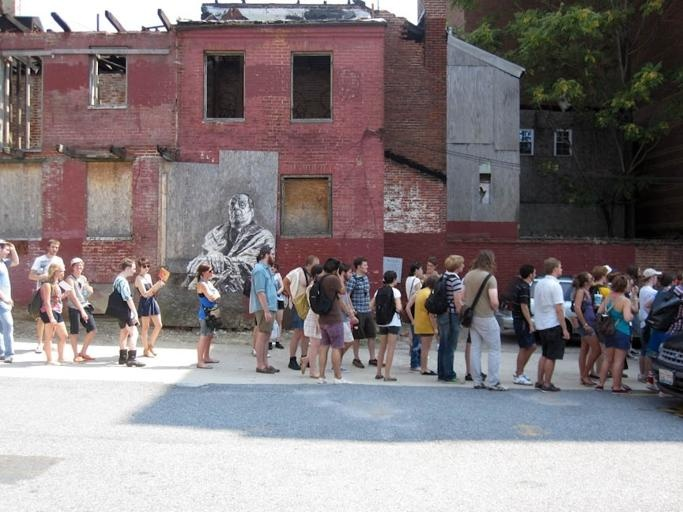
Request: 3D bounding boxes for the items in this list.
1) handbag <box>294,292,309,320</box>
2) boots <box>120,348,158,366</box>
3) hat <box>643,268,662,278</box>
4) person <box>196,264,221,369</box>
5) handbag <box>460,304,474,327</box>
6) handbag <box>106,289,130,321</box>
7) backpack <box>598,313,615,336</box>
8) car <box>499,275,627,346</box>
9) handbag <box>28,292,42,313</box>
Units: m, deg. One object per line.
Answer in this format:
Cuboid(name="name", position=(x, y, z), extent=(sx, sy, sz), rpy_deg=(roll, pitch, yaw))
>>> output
Cuboid(name="handbag", position=(-0.941, 1.165, 29.142), extent=(0.329, 0.470, 0.684), rpy_deg=(1, 0, -6))
Cuboid(name="boots", position=(-4.887, 2.407, 29.292), extent=(0.824, 0.538, 0.277), rpy_deg=(1, -2, 2))
Cuboid(name="hat", position=(7.870, 0.444, 31.140), extent=(0.397, 0.155, 0.248), rpy_deg=(-7, 6, -19))
Cuboid(name="person", position=(-3.190, 1.412, 29.537), extent=(0.547, 1.863, 1.028), rpy_deg=(1, 0, -6))
Cuboid(name="handbag", position=(2.861, 1.340, 27.905), extent=(0.219, 0.358, 0.388), rpy_deg=(15, -18, 2))
Cuboid(name="handbag", position=(-5.308, 1.167, 29.364), extent=(0.630, 0.613, 0.199), rpy_deg=(0, 0, 25))
Cuboid(name="backpack", position=(6.030, 1.543, 27.908), extent=(0.266, 0.484, 0.464), rpy_deg=(-7, 7, -16))
Cuboid(name="car", position=(5.444, 1.468, 32.248), extent=(2.559, 1.822, 6.737), rpy_deg=(0, 0, 7))
Cuboid(name="handbag", position=(-7.254, 1.081, 29.150), extent=(0.197, 0.456, 0.294), rpy_deg=(1, 0, -43))
